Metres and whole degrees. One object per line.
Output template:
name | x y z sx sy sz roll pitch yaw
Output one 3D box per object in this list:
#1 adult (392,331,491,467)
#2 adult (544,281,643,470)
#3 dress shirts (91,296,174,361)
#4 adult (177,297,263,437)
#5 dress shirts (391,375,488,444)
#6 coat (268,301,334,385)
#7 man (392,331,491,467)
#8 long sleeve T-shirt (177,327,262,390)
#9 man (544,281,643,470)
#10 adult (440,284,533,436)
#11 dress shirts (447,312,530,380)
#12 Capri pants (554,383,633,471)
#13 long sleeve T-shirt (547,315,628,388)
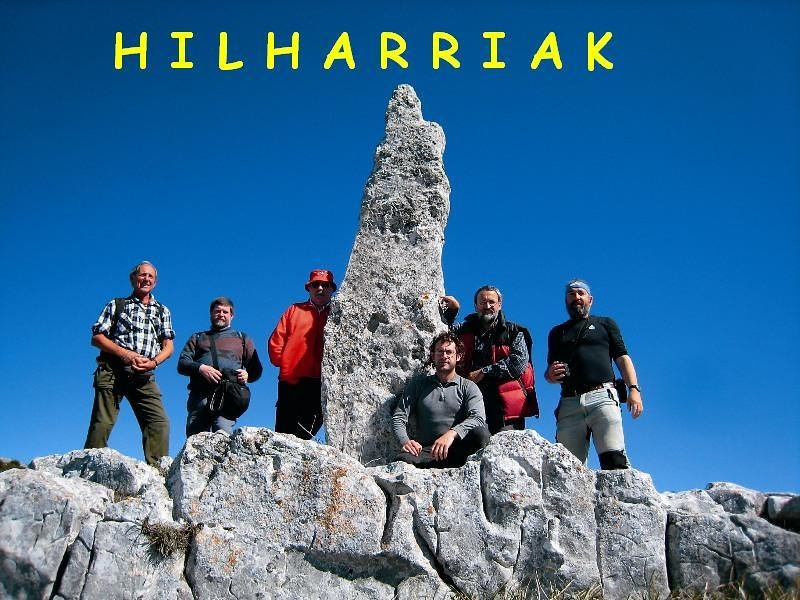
adult | 0.372 1.295 11.970 1.101 1.773 1.235 1 -31 7
adult | 2.119 1.017 12.001 0.916 2.714 0.746 -12 -28 21
dress shirts | -3.063 0.311 12.815 0.786 0.896 0.463 4 -14 -7
adult | -2.108 1.057 12.476 0.853 2.404 0.718 2 -26 -2
dress shirts | 0.450 1.199 11.712 1.021 0.937 0.845 0 -7 21
coat | -1.079 0.547 12.298 0.654 0.827 0.395 7 -17 -8
man | 0.503 1.090 11.690 1.066 1.615 1.096 -1 -7 30
long sleeve T-shirt | -2.107 0.731 12.704 0.934 1.000 0.594 3 -31 -8
man | 2.126 1.013 11.990 0.991 2.787 0.800 -11 -32 19
adult | 1.070 0.966 12.457 0.908 2.337 0.690 -3 7 21
dress shirts | 1.012 0.562 12.034 0.590 0.548 0.360 -6 -34 40
Capri pants | 2.113 1.408 12.007 0.750 0.456 1.347 -4 -69 20
long sleeve T-shirt | 2.038 0.607 11.599 0.613 0.698 0.377 -8 -40 20
